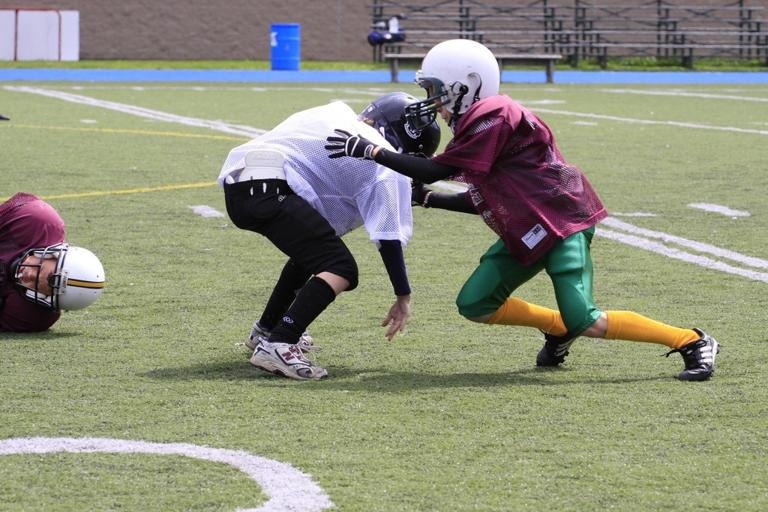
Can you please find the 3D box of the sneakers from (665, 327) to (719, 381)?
[{"bbox_3d":[1.858,0.579,7.229,0.239,0.144,0.395,25,25,8],"label":"sneakers"}]

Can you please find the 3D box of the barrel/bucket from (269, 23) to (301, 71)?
[{"bbox_3d":[-2.468,-5.189,29.856,0.747,1.152,0.551,2,7,-17],"label":"barrel/bucket"}]

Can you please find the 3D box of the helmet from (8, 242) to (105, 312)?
[{"bbox_3d":[-2.029,0.134,7.887,0.667,0.319,0.454,7,2,6],"label":"helmet"}]

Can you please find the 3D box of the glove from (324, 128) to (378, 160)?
[{"bbox_3d":[-0.193,-0.671,7.192,0.357,0.179,0.230,3,6,12],"label":"glove"}]
